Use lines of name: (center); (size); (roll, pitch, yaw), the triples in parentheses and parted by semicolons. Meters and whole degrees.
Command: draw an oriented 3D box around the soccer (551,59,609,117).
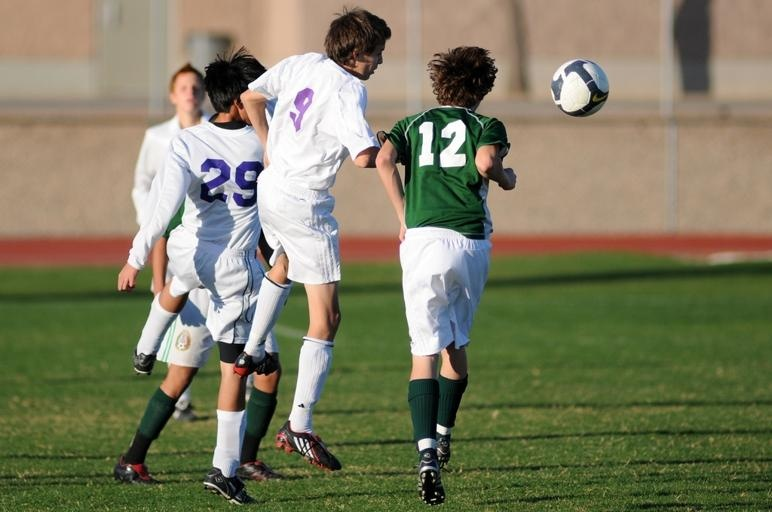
soccer: (1.697, -1.454, 13.008); (0.486, 0.472, 0.491); (6, 11, 43)

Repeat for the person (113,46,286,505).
person: (-1.444, 0.125, 12.413); (1.208, 3.568, 1.056); (-6, 12, -27)

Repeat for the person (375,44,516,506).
person: (0.385, 0.095, 12.276); (0.873, 3.522, 1.216); (7, 13, 36)
